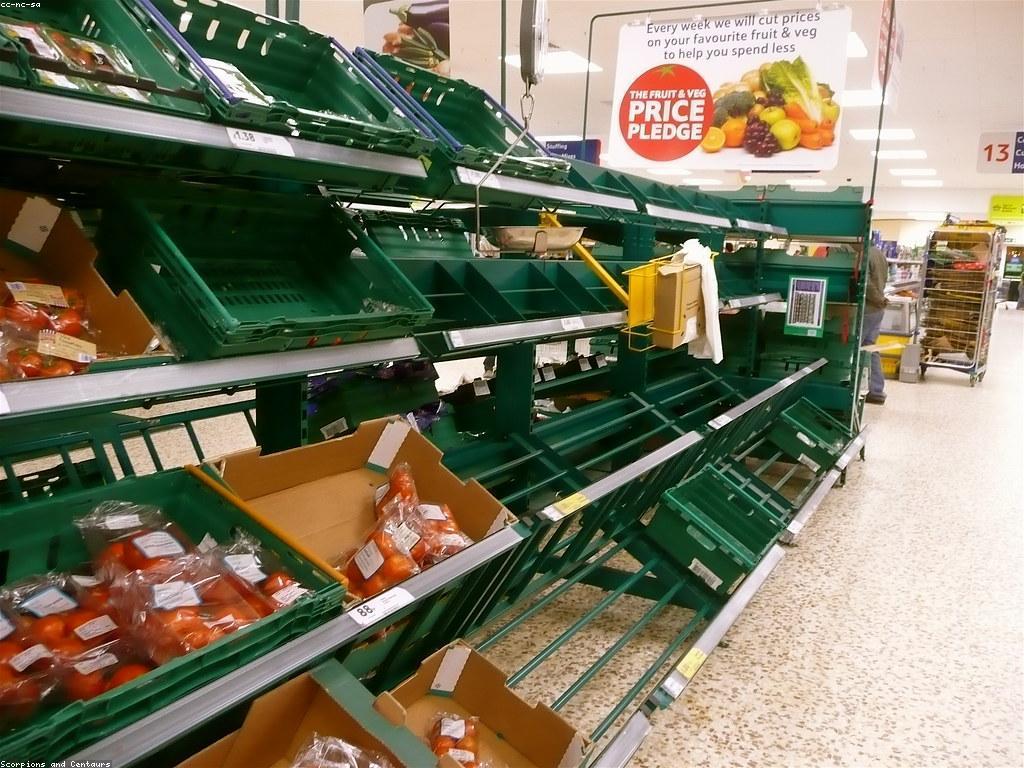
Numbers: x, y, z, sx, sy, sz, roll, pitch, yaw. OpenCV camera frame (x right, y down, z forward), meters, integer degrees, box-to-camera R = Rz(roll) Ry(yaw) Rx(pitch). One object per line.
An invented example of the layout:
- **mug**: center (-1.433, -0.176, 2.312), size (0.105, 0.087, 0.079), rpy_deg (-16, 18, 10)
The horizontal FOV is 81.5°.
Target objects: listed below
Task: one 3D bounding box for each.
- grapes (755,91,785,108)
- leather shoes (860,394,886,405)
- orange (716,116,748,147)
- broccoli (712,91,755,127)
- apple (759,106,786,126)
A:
- **grapes**: center (1.629, -1.813, 3.746), size (0.148, 0.072, 0.075), rpy_deg (17, 26, 39)
- **leather shoes**: center (4.291, 0.187, 7.072), size (0.190, 0.077, 0.271), rpy_deg (-1, 7, 8)
- **orange**: center (1.451, -1.654, 3.875), size (0.191, 0.202, 0.179), rpy_deg (9, 40, 41)
- **broccoli**: center (1.434, -1.818, 3.849), size (0.221, 0.161, 0.074), rpy_deg (32, 9, 41)
- **apple**: center (1.649, -1.711, 3.762), size (0.133, 0.108, 0.121), rpy_deg (8, 26, 15)
